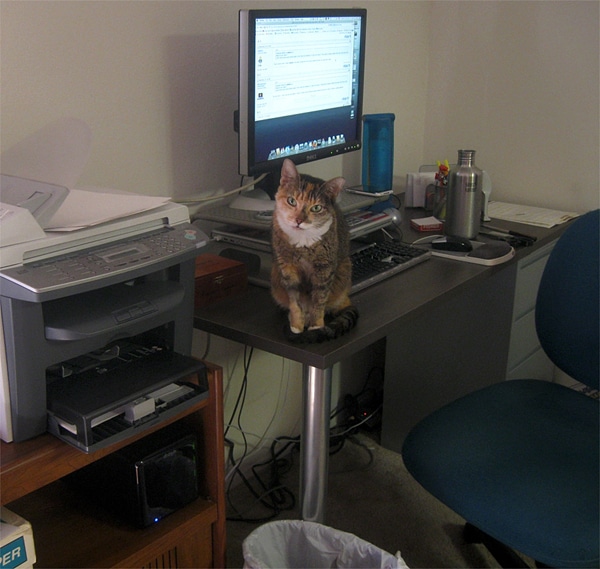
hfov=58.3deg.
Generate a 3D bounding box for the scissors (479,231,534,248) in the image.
[{"bbox_3d":[0.627,-0.139,1.617,0.055,0.018,0.172,-15,17,-25],"label":"scissors"}]

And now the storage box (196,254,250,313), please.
[{"bbox_3d":[-0.177,-0.012,1.215,0.110,0.066,0.147,21,34,31],"label":"storage box"}]

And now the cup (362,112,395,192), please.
[{"bbox_3d":[0.289,-0.466,1.922,0.150,0.273,0.085,-18,24,-25],"label":"cup"}]

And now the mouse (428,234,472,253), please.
[{"bbox_3d":[0.430,-0.114,1.526,0.102,0.034,0.053,13,29,28],"label":"mouse"}]

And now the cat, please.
[{"bbox_3d":[0.026,-0.083,1.073,0.190,0.344,0.249,-9,22,-4],"label":"cat"}]

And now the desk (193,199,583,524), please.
[{"bbox_3d":[0.241,0.194,1.420,0.402,0.604,0.839,17,31,33],"label":"desk"}]
